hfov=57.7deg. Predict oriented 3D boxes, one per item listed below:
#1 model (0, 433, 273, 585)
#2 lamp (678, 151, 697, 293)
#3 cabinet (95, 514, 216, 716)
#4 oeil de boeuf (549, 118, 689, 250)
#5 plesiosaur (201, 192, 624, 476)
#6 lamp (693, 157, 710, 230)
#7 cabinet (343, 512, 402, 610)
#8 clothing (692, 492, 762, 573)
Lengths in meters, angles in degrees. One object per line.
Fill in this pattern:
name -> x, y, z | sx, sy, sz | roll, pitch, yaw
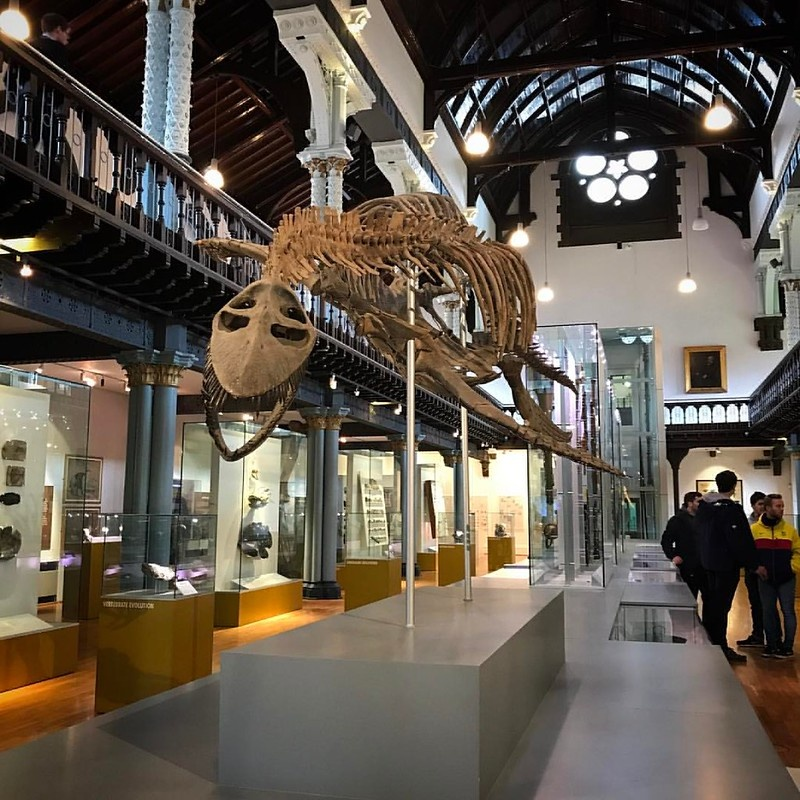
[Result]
model -> -2.291, 1.007, 6.635 | 1.071, 1.510, 2.129 | 1, 1, 18
lamp -> 8.080, -4.609, 20.505 | 0.442, 2.918, 0.472 | -6, 12, 13
cabinet -> -1.682, 1.486, 5.119 | 0.663, 1.280, 0.676 | 5, -7, -12
oeil de boeuf -> 6.240, -5.995, 20.244 | 3.493, 3.973, 0.401 | -1, -1, 18
plesiosaur -> -0.037, -0.389, 3.048 | 1.741, 1.264, 1.148 | 3, -7, -37
lamp -> 6.876, -4.683, 16.725 | 0.245, 1.130, 0.248 | -11, 15, -18
cabinet -> -0.441, 2.254, 9.781 | 0.598, 0.844, 0.885 | 0, 21, -3
clothing -> 2.405, 0.991, 5.420 | 0.240, 0.582, 0.504 | 2, -6, -22
